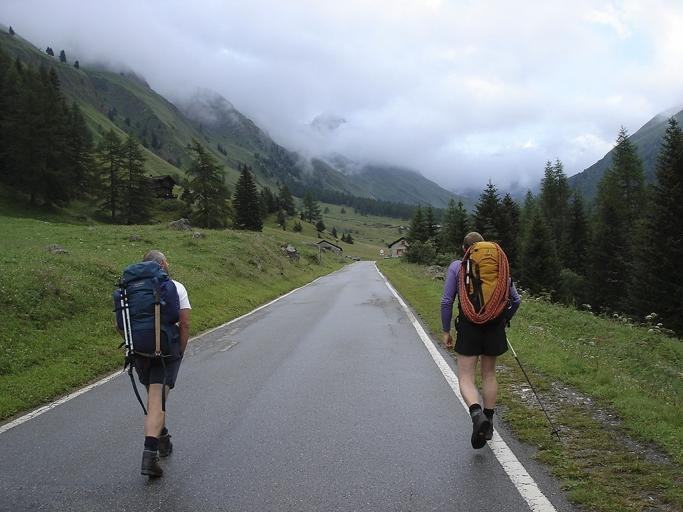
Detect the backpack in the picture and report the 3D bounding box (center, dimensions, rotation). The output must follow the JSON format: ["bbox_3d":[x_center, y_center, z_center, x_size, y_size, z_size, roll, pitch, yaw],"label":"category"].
[{"bbox_3d":[2.189,0.351,7.423,0.726,1.212,0.349,1,-13,12],"label":"backpack"}]

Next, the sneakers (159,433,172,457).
[{"bbox_3d":[-2.616,2.832,7.181,0.124,0.256,0.340,0,1,-1],"label":"sneakers"}]

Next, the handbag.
[{"bbox_3d":[-2.881,0.829,7.200,0.906,1.442,0.505,-3,7,-16],"label":"handbag"}]
